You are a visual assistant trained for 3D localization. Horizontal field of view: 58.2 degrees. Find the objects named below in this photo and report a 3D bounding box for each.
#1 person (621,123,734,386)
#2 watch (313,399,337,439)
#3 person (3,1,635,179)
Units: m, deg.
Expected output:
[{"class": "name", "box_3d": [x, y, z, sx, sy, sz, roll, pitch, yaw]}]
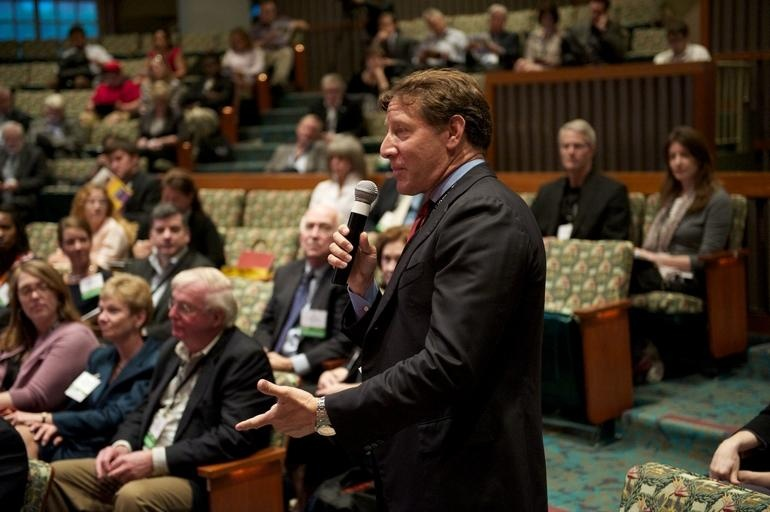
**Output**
[{"class": "person", "box_3d": [1.345, 0.001, 3.168, 0.417, 1.141, 0.125, -1, 7, 7]}, {"class": "watch", "box_3d": [-0.172, 0.482, 2.093, 0.080, 0.114, 0.117, -7, -3, 3]}, {"class": "person", "box_3d": [-0.592, -1.298, 5.366, 3.269, 1.354, 1.015, 1, 3, 30]}]
